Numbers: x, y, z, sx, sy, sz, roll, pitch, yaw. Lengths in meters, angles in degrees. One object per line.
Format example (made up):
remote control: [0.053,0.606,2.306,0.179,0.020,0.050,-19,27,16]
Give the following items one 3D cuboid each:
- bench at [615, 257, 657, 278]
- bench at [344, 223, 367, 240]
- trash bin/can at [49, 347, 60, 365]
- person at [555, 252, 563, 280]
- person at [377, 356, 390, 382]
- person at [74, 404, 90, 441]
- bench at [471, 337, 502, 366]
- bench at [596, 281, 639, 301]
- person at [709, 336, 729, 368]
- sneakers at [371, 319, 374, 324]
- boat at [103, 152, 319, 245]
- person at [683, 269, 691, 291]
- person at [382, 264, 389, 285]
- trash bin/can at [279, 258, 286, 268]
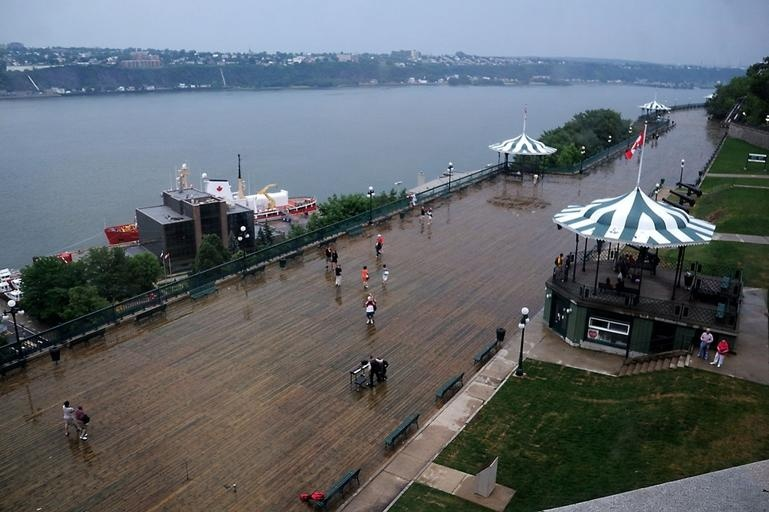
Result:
bench: [14.651,0.812,32.414,1.611,0.799,1.647,1,10,29]
bench: [-2.157,-2.033,44.897,0.935,0.651,2.202,5,23,24]
trash bin/can: [-17.323,5.274,29.698,0.674,0.784,0.664,-1,2,7]
person: [10.034,0.681,32.333,0.489,1.032,1.331,2,21,17]
person: [-0.056,5.835,28.661,0.721,1.311,0.971,1,8,17]
person: [-13.562,7.454,25.241,0.577,1.461,1.066,-17,24,-30]
bench: [5.505,5.156,30.247,0.625,0.617,2.613,8,21,35]
bench: [12.476,1.859,29.907,2.000,0.688,1.324,5,23,24]
person: [16.372,4.577,27.299,0.528,1.182,1.394,11,26,37]
sneakers: [-0.686,3.873,32.843,0.139,0.187,0.180,-6,-1,-1]
boat: [-34.652,-13.167,117.925,40.352,13.588,13.321,-1,0,-10]
person: [16.617,1.290,30.690,0.357,0.850,0.926,4,22,23]
person: [0.077,1.303,37.318,0.424,1.273,0.640,6,28,2]
trash bin/can: [-7.145,0.538,39.279,0.495,0.558,0.506,5,9,35]
